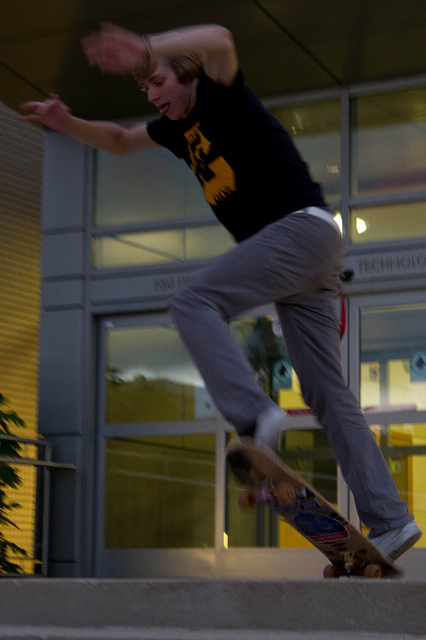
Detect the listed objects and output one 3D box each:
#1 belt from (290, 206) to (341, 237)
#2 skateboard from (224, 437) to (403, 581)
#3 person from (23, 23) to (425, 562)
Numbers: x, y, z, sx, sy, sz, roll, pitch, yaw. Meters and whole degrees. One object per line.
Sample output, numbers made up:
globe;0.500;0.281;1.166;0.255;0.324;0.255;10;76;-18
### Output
belt;0.370;-0.345;3.004;0.124;0.059;0.087;25;23;1
skateboard;0.325;0.616;2.776;0.356;0.409;0.804;-7;-3;33
person;-0.033;-0.046;3.145;1.104;1.476;0.997;-7;-3;38
